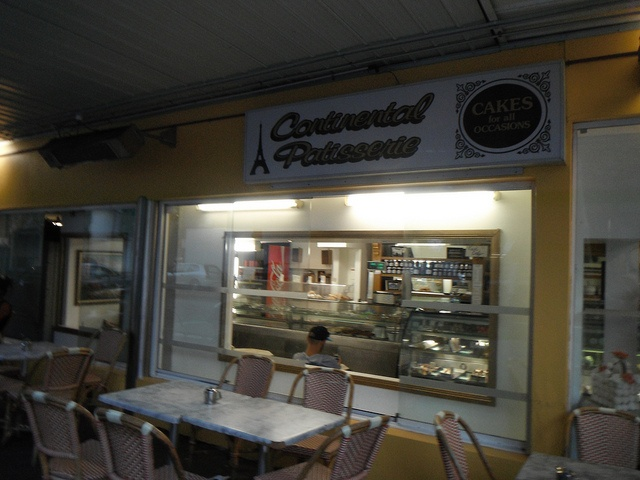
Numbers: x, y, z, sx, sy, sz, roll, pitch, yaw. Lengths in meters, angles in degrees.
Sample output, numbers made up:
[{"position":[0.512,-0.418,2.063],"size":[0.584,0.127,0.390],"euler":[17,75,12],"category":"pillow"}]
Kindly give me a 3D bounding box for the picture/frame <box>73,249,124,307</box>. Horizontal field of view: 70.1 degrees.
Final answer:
[{"position":[-3.401,0.590,7.015],"size":[1.116,0.939,0.073],"euler":[0,0,33],"category":"picture/frame"}]

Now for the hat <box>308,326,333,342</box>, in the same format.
[{"position":[-0.025,1.079,5.246],"size":[0.211,0.160,0.155],"euler":[4,-4,-14],"category":"hat"}]

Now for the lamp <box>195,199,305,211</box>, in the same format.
[{"position":[-0.864,-0.436,5.690],"size":[1.040,0.135,0.064],"euler":[-1,14,16],"category":"lamp"}]

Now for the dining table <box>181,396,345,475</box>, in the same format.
[{"position":[-0.418,1.667,3.519],"size":[1.139,0.479,0.607],"euler":[1,-2,41],"category":"dining table"}]
